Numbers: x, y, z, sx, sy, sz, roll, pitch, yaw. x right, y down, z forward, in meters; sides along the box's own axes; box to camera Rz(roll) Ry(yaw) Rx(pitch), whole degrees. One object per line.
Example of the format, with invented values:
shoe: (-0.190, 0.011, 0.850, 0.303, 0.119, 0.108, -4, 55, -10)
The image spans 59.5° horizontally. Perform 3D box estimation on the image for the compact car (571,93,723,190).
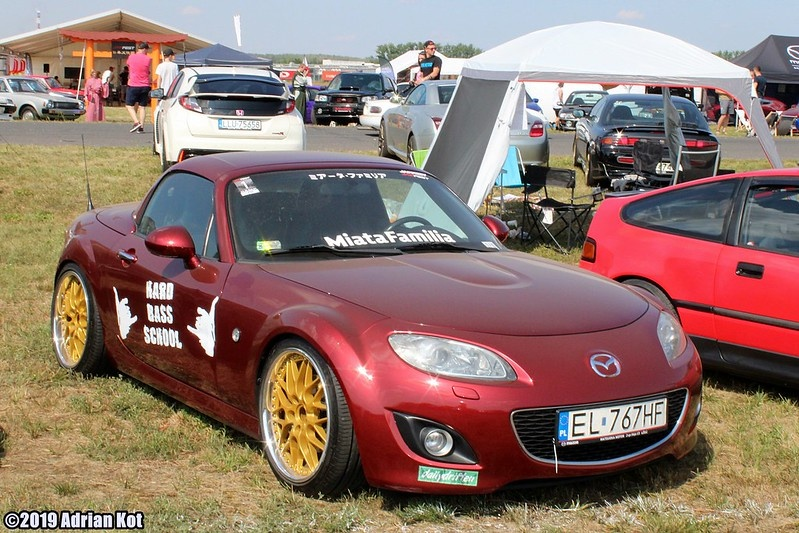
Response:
compact car: (4.590, -2.521, 13.418, 1.695, 1.246, 3.707, 0, 19, 0)

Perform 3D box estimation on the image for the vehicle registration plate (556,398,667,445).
vehicle registration plate: (1.215, 0.858, 3.932, 0.727, 0.243, 0.082, -7, 12, -3)

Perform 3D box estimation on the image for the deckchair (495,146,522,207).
deckchair: (1.649, -1.503, 10.563, 0.412, 0.723, 0.530, -4, -2, -4)

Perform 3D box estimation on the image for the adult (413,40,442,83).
adult: (0.722, -4.919, 18.115, 0.661, 1.699, 0.574, 2, 27, 5)

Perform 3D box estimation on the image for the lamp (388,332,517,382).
lamp: (0.301, 0.514, 3.819, 0.477, 0.170, 0.305, 22, -29, -21)

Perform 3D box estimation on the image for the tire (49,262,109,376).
tire: (-2.593, 0.445, 5.712, 0.206, 0.750, 0.639, 9, 17, -44)

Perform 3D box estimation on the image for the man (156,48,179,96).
man: (-6.250, -5.211, 18.877, 0.598, 1.402, 0.411, -11, 48, -31)

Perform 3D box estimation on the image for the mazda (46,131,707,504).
mazda: (-0.518, 0.294, 4.869, 2.189, 1.391, 3.825, -5, 10, -39)

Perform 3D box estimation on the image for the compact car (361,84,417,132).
compact car: (-0.807, -4.808, 20.595, 2.379, 0.933, 1.056, -2, 6, -32)

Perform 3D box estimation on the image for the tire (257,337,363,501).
tire: (-0.540, 0.886, 4.102, 0.798, 0.894, 0.168, 10, 14, 43)

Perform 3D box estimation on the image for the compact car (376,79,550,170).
compact car: (0.814, -2.861, 14.623, 1.868, 1.433, 4.124, -3, 15, -13)

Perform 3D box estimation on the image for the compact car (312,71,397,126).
compact car: (-1.899, -6.168, 25.187, 1.706, 1.329, 2.915, 2, 8, 10)

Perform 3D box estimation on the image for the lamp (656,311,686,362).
lamp: (1.695, 0.453, 4.376, 0.175, 0.090, 0.333, 17, 38, -32)
